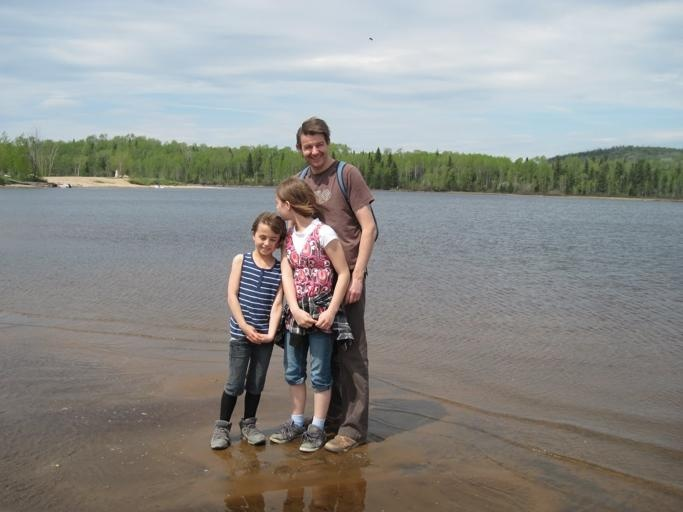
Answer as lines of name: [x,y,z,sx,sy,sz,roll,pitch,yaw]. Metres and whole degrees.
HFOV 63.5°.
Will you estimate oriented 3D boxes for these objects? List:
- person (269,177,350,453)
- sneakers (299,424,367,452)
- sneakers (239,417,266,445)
person: [-0.318,0.544,5.106,0.747,2.468,0.479,8,11,31]
sneakers: [-0.127,1.677,5.124,0.402,0.132,0.255,4,-6,-7]
sneakers: [-0.867,1.652,5.229,0.147,0.160,0.351,1,-1,-32]
